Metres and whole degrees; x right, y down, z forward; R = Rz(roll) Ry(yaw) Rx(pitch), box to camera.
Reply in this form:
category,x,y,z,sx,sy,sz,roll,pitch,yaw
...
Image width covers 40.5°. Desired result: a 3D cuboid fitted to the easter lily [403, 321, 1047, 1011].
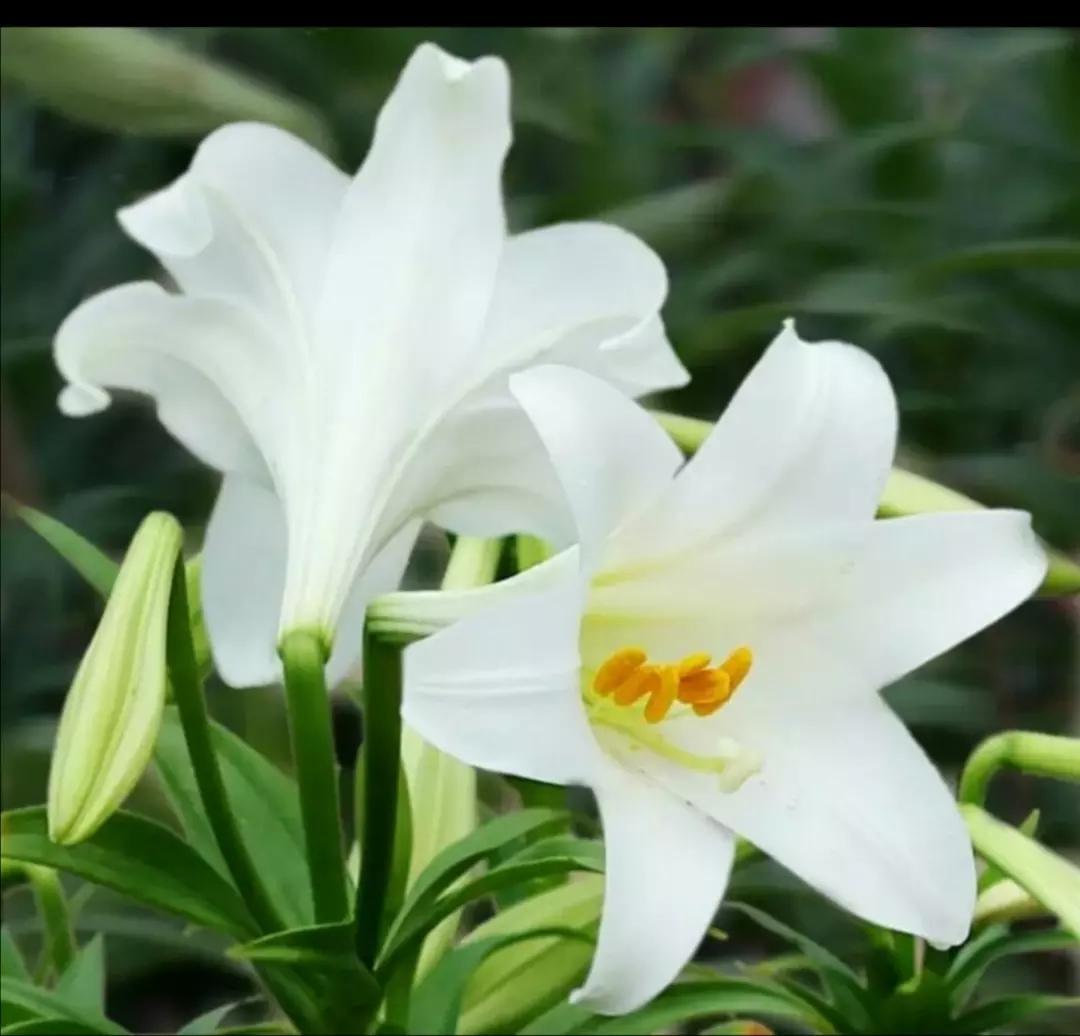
category,x,y,z,sx,sy,sz,roll,pitch,yaw
easter lily,0.077,0.059,0.560,0.211,0.176,0.271,19,76,11
